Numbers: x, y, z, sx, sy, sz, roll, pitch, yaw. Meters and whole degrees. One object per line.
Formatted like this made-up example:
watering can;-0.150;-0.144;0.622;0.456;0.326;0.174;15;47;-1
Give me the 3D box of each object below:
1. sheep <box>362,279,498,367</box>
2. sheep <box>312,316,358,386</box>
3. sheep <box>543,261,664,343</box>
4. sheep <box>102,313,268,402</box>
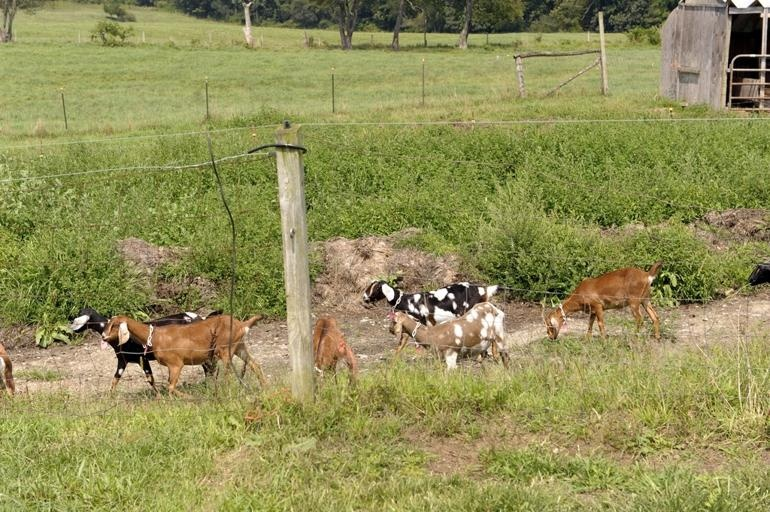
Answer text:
sheep;1.580;2.534;42.850;4.060;3.137;3.318;3;14;18
sheep;-1.591;2.882;39.947;1.444;1.577;1.286;1;9;13
sheep;7.355;1.669;42.442;3.744;2.691;0.999;-8;-5;15
sheep;-6.247;2.750;40.358;7.101;3.772;3.210;1;-3;-7
